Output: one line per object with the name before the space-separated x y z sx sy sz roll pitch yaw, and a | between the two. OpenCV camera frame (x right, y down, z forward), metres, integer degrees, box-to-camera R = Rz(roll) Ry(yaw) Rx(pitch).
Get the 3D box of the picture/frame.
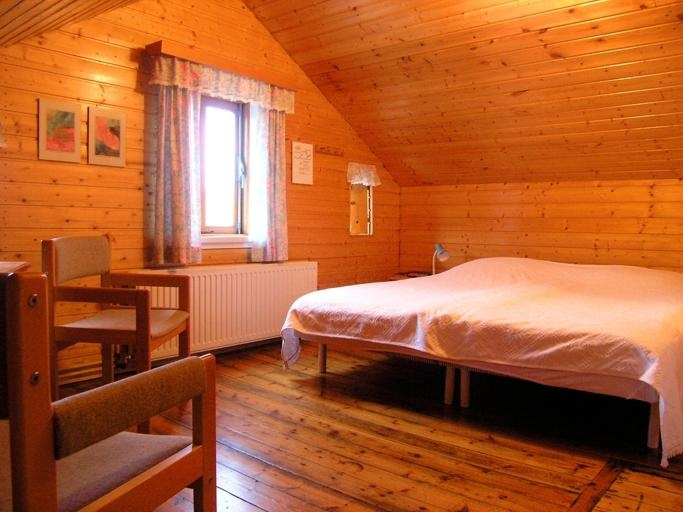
picture/frame | -1.732 -0.812 3.578 0.567 0.417 0.047 -7 13 -43
